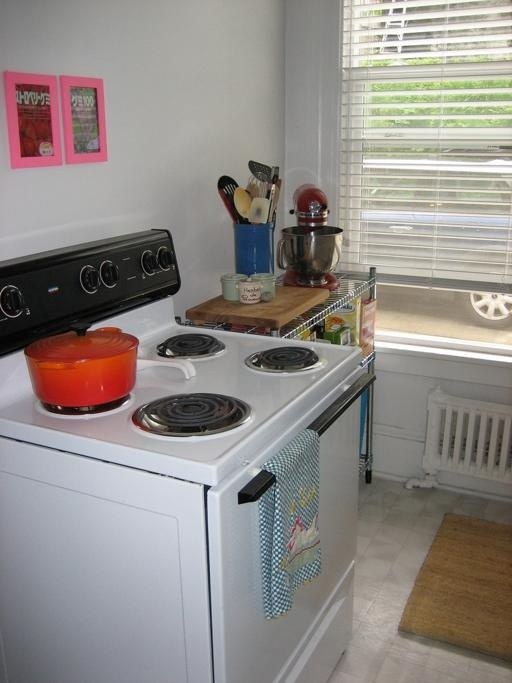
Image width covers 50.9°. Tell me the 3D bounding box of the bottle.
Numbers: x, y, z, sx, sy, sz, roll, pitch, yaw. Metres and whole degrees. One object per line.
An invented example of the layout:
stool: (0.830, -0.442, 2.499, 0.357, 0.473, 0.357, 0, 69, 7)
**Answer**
bottle: (-0.027, -0.252, 1.698, 0.161, 0.227, 0.226, -1, 14, 1)

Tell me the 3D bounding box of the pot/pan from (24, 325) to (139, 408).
pot/pan: (-0.283, 0.048, 0.908, 0.161, 0.099, 0.140, 13, 26, 36)

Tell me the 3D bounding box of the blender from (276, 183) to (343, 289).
blender: (0.190, -0.369, 1.913, 0.219, 0.357, 0.304, 1, 14, 10)
